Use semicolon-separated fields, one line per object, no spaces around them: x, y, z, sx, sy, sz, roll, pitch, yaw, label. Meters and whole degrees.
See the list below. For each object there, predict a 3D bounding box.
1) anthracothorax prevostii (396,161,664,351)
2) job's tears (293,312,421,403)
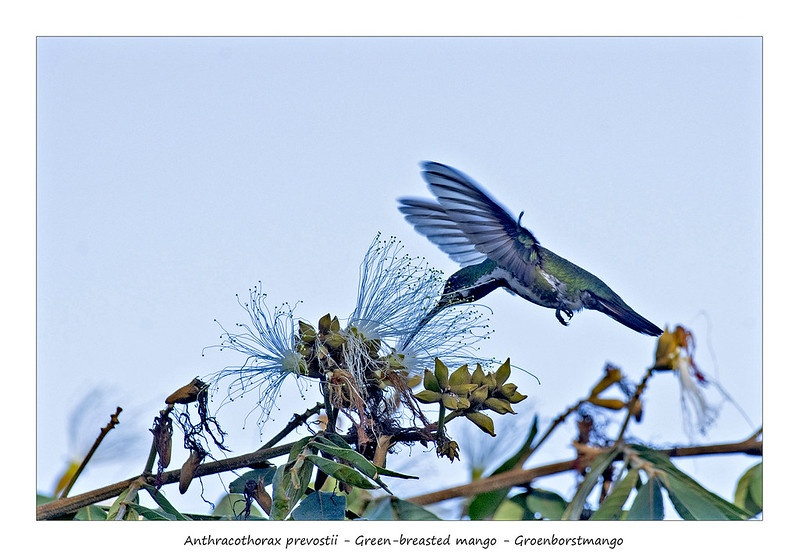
0.406;-0.102;4.734;1.019;0.876;0.632;1;-1;-4;anthracothorax prevostii
-0.174;0.293;4.487;0.421;0.468;0.206;21;-35;-13;job's tears
